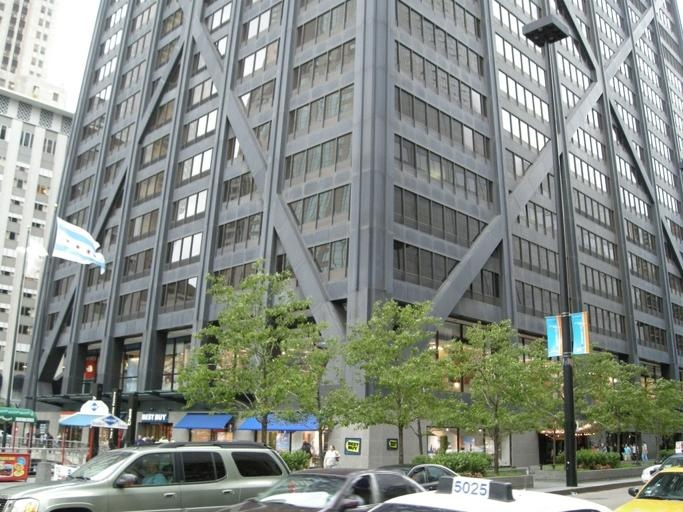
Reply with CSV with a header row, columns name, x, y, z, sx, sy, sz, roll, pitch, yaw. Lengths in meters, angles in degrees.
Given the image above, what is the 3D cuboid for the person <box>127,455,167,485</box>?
name,x,y,z,sx,sy,sz,roll,pitch,yaw
person,-4.963,5.544,15.656,0.996,0.766,0.230,7,-19,-19

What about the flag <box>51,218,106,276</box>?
name,x,y,z,sx,sy,sz,roll,pitch,yaw
flag,-22.271,-0.679,51.735,0.611,4.344,5.482,-23,-36,26
